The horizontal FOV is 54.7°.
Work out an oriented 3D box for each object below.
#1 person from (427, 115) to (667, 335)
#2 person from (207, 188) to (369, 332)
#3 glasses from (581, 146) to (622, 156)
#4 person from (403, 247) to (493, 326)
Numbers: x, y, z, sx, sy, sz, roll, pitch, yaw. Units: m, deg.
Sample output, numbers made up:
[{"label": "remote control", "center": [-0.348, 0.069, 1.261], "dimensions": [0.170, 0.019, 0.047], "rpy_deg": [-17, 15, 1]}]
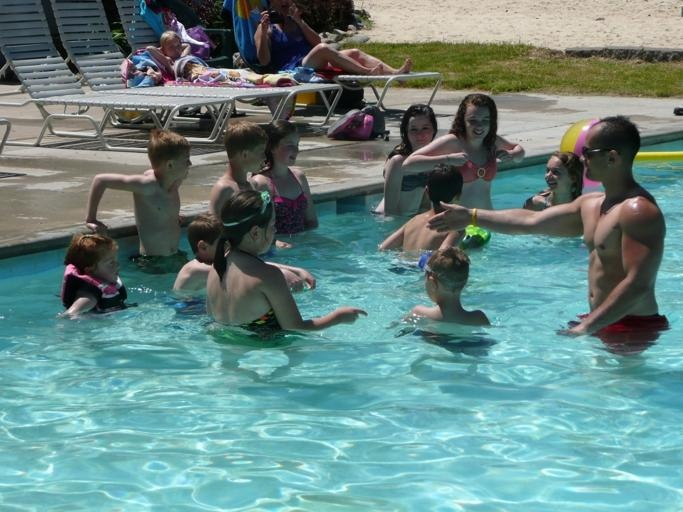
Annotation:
[{"label": "person", "center": [1.547, -0.182, 4.264], "dimensions": [0.725, 1.403, 1.215], "rpy_deg": [-19, 26, -21]}, {"label": "person", "center": [-0.434, 0.052, 5.169], "dimensions": [1.354, 0.810, 0.897], "rpy_deg": [22, 38, 35]}, {"label": "glasses", "center": [1.542, -0.628, 4.002], "dimensions": [0.199, 0.056, 0.047], "rpy_deg": [12, 30, 41]}, {"label": "person", "center": [0.677, 0.241, 4.595], "dimensions": [0.831, 0.473, 0.372], "rpy_deg": [6, -4, -40]}]
